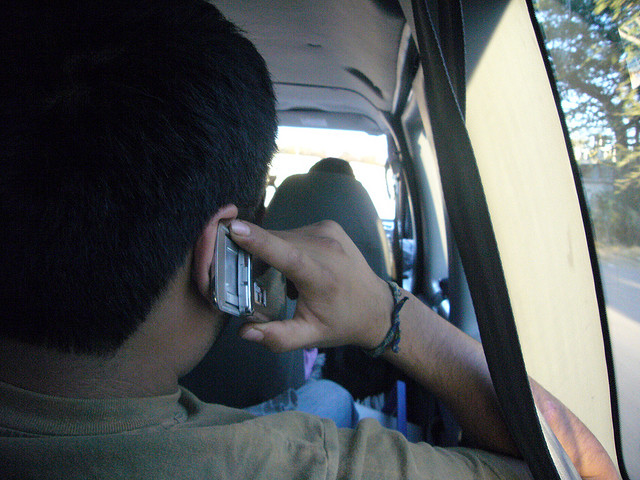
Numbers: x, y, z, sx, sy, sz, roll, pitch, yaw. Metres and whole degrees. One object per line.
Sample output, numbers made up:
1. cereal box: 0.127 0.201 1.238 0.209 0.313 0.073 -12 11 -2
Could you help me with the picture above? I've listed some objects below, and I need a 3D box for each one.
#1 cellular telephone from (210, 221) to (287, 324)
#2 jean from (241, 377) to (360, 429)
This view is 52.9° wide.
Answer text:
1. cellular telephone: -0.139 0.093 1.513 0.226 0.176 0.059 16 16 27
2. jean: -0.016 0.441 1.749 0.227 0.126 0.169 4 -29 -20
